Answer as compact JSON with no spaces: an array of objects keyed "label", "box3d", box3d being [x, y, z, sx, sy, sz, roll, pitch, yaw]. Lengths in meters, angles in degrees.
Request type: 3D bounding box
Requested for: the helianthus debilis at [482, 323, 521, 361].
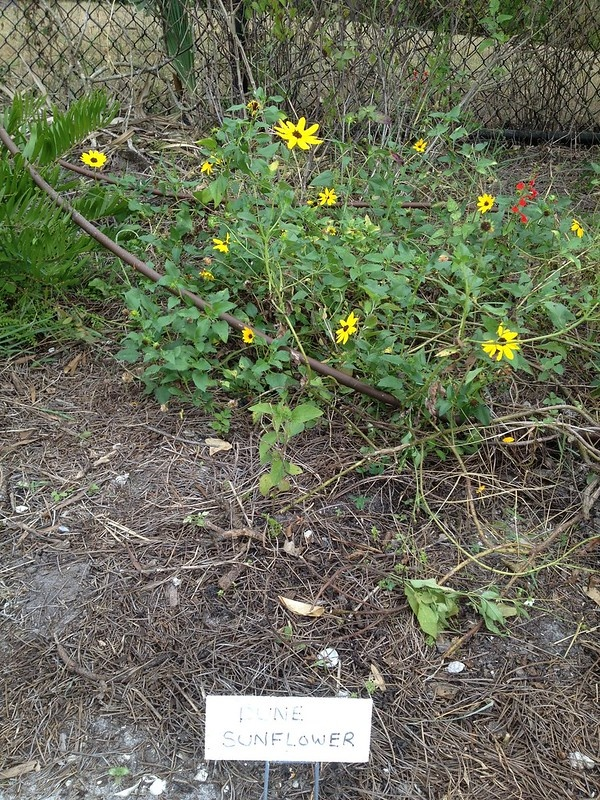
[{"label":"helianthus debilis","box3d":[0.590,-0.159,2.012,0.125,0.054,0.103,-1,80,26]}]
